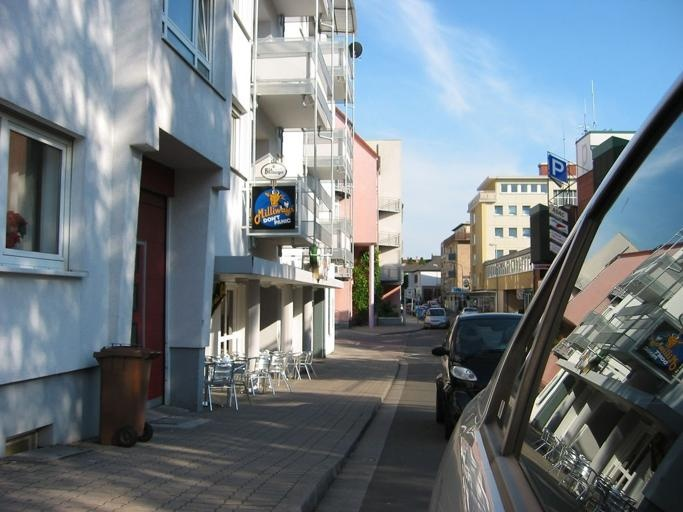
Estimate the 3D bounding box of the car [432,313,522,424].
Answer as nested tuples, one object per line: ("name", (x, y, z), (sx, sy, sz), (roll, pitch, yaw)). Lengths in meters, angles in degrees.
("car", (2.070, 1.743, 10.573), (1.279, 1.348, 2.393), (0, -17, 1))
